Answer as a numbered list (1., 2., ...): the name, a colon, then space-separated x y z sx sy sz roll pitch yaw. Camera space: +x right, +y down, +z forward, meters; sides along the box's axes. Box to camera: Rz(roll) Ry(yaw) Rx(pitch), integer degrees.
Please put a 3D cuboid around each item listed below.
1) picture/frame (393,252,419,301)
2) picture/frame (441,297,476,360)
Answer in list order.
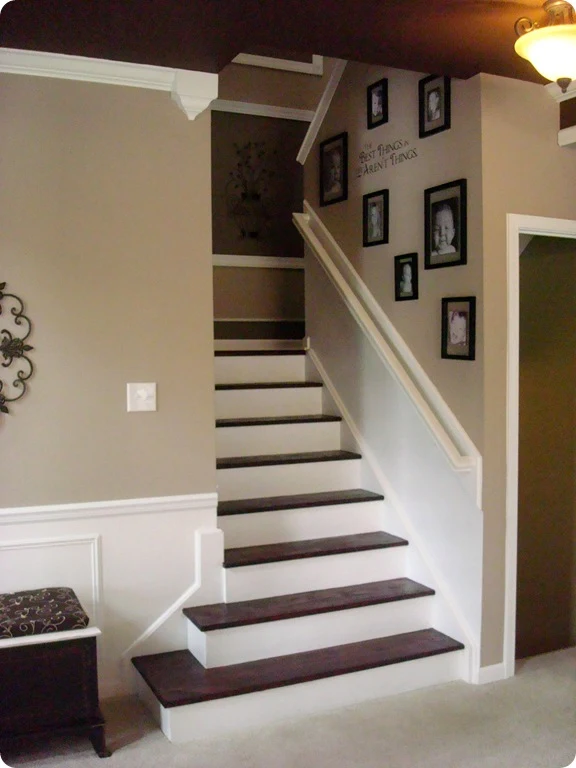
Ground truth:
1. picture/frame: 0.551 -0.494 2.969 0.022 0.249 0.200 -3 8 -22
2. picture/frame: 0.702 -0.228 2.621 0.021 0.318 0.251 1 0 -21
